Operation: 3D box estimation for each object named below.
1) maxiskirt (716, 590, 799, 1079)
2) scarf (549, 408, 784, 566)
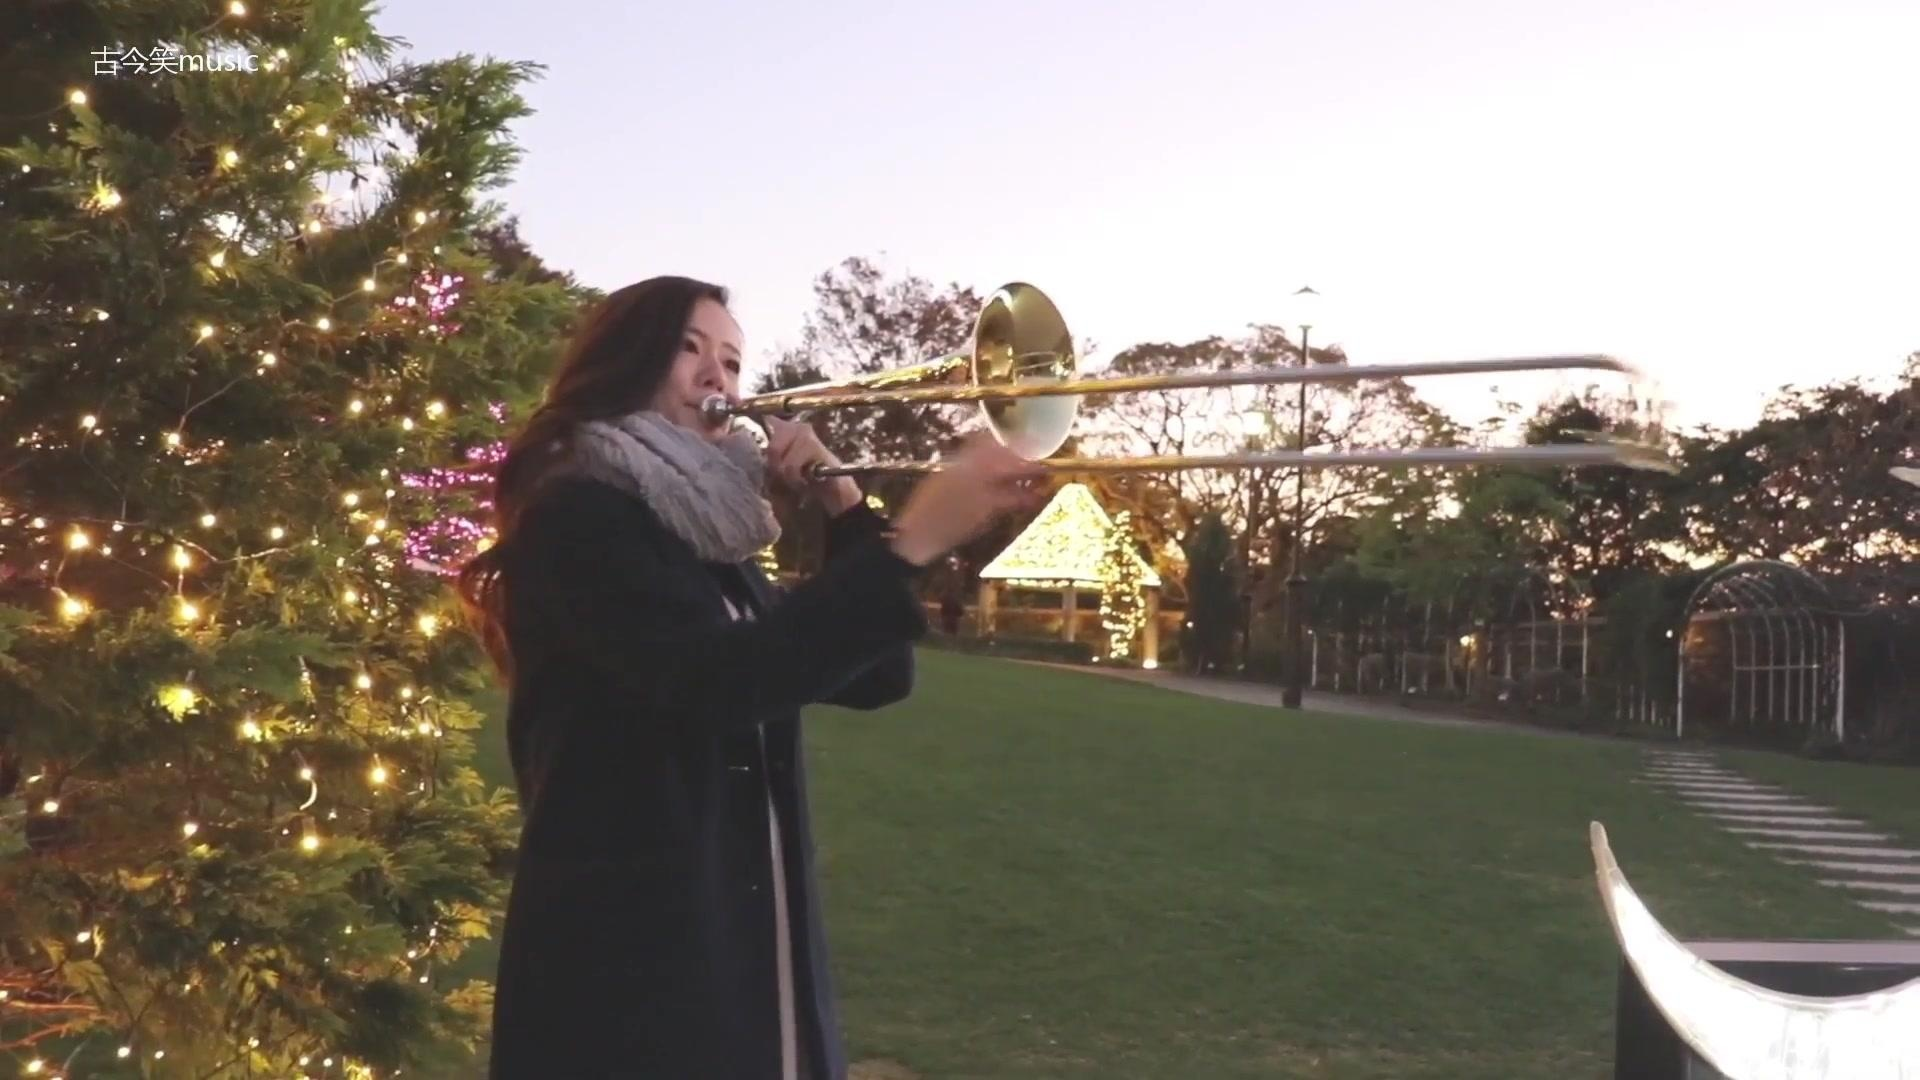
[{"bbox_3d":[-0.598,1.119,4.150,0.155,1.005,0.146,0,-7,-17],"label":"maxiskirt"},{"bbox_3d":[-0.903,-0.134,4.297,0.596,0.236,0.455,36,8,-2],"label":"scarf"}]
